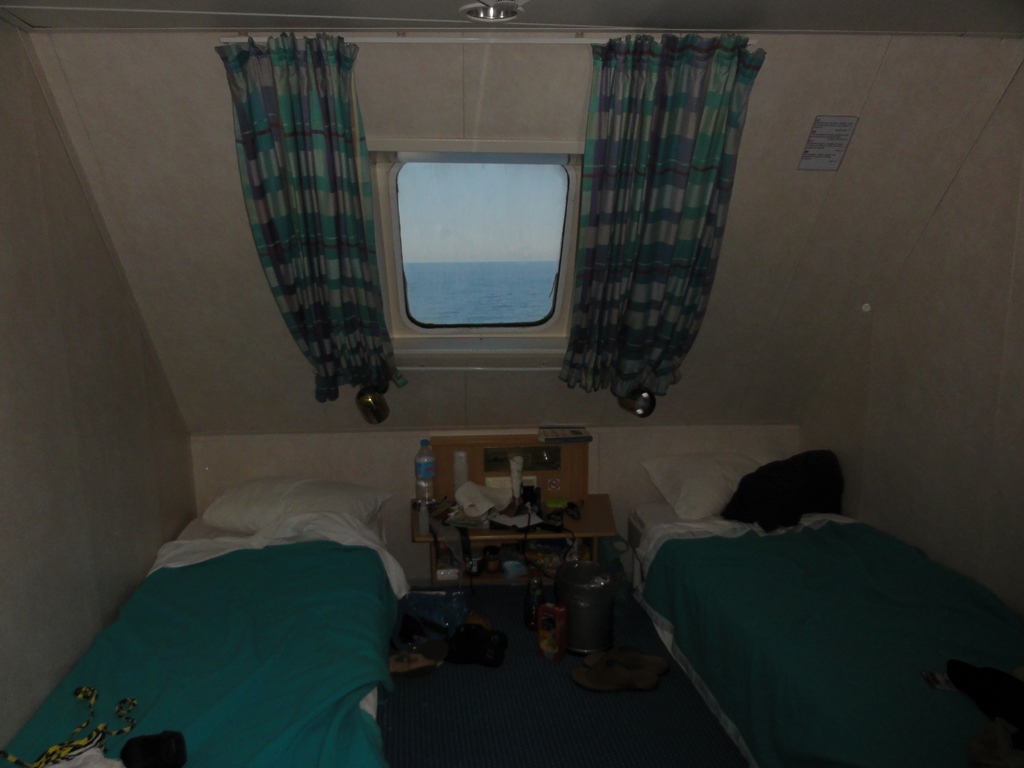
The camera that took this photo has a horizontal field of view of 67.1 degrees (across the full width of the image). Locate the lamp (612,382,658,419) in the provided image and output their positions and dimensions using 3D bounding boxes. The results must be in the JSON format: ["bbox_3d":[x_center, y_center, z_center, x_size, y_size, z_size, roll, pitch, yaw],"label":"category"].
[{"bbox_3d":[0.661,0.082,4.033,0.161,0.143,0.195,1,6,12],"label":"lamp"}]

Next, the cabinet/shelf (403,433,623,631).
[{"bbox_3d":[-0.034,1.046,4.607,1.422,1.200,0.801,0,-3,-5],"label":"cabinet/shelf"}]

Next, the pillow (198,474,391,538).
[{"bbox_3d":[-1.135,0.621,4.053,0.589,0.183,0.438,2,16,3],"label":"pillow"}]

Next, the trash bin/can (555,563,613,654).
[{"bbox_3d":[0.361,1.063,3.728,0.272,0.414,0.254,-5,-32,1],"label":"trash bin/can"}]
